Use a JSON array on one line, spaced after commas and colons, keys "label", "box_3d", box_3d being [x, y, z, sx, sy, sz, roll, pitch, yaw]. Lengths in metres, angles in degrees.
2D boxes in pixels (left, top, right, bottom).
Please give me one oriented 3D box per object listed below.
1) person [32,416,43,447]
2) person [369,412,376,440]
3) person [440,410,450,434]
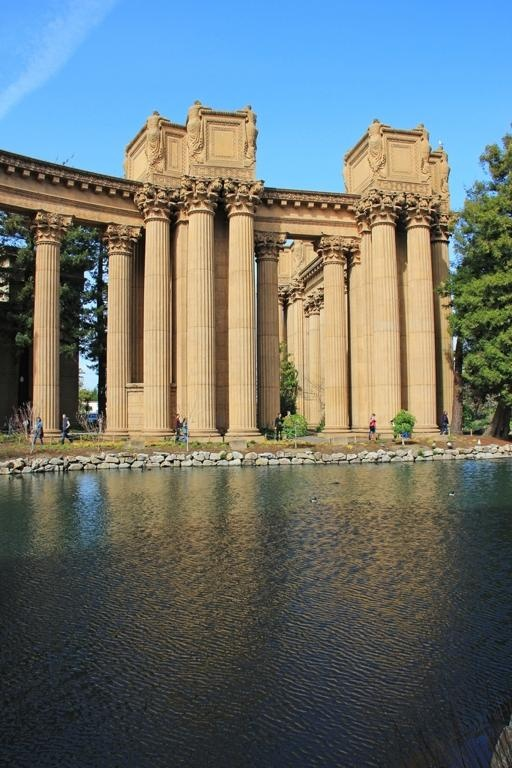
[{"label": "person", "box_3d": [-8.852, 1.878, 27.900, 0.421, 1.137, 2.752, 0, -2, -17]}, {"label": "person", "box_3d": [5.621, 2.010, 33.055, 0.372, 1.220, 1.640, -1, -2, 10]}, {"label": "person", "box_3d": [9.409, 1.899, 34.308, 0.408, 1.116, 2.433, -1, -2, 15]}]
